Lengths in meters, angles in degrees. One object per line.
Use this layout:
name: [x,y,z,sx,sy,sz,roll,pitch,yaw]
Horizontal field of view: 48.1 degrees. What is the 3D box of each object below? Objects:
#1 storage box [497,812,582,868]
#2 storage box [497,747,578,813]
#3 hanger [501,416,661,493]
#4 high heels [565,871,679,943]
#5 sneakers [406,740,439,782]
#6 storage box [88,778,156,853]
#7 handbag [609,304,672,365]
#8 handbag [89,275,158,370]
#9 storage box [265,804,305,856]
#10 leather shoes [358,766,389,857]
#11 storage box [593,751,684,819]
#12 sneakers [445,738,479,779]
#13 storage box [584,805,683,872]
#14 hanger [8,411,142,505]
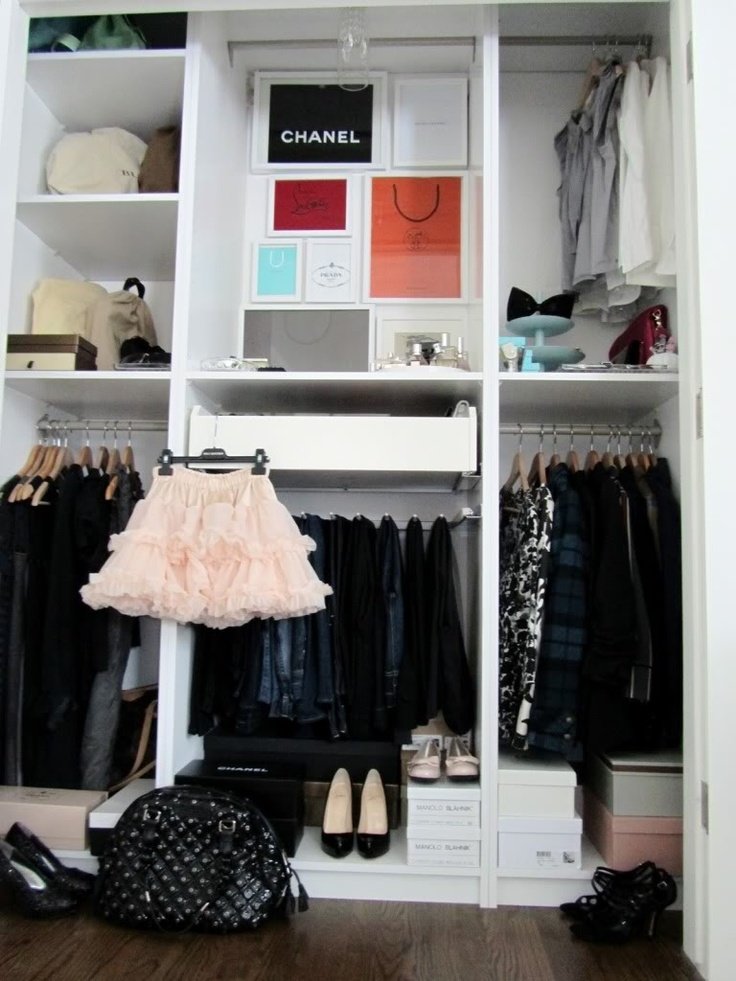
storage box: [0.439,0.897,2.088,0.136,0.097,0.147,1,-8,-3]
storage box: [0.435,0.766,2.169,0.141,0.102,0.151,1,-11,-1]
hanger: [0.676,-0.128,2.614,0.630,0.267,0.208,-2,5,-9]
high heels: [0.598,0.983,1.958,0.231,0.104,0.146,-19,24,25]
sneakers: [0.148,0.739,2.246,0.066,0.074,0.193,-3,-13,9]
storage box: [-0.670,0.837,2.181,0.142,0.039,0.142,-2,23,-2]
handbag: [0.813,-0.456,2.464,0.128,0.111,0.364,-17,29,26]
handbag: [-0.811,-0.549,2.701,0.208,0.329,0.102,-2,-10,-11]
storage box: [-0.219,0.886,2.157,0.079,0.113,0.157,0,-14,3]
leather shoes: [0.013,0.862,2.212,0.067,0.068,0.239,-3,30,5]
storage box: [0.703,0.756,2.126,0.119,0.090,0.182,-1,-9,9]
sneakers: [0.255,0.733,2.246,0.072,0.067,0.215,-1,-12,-1]
storage box: [0.706,0.905,2.212,0.192,0.144,0.287,2,-2,1]
hanger: [-0.919,-0.100,2.572,0.254,0.155,0.333,1,6,3]
